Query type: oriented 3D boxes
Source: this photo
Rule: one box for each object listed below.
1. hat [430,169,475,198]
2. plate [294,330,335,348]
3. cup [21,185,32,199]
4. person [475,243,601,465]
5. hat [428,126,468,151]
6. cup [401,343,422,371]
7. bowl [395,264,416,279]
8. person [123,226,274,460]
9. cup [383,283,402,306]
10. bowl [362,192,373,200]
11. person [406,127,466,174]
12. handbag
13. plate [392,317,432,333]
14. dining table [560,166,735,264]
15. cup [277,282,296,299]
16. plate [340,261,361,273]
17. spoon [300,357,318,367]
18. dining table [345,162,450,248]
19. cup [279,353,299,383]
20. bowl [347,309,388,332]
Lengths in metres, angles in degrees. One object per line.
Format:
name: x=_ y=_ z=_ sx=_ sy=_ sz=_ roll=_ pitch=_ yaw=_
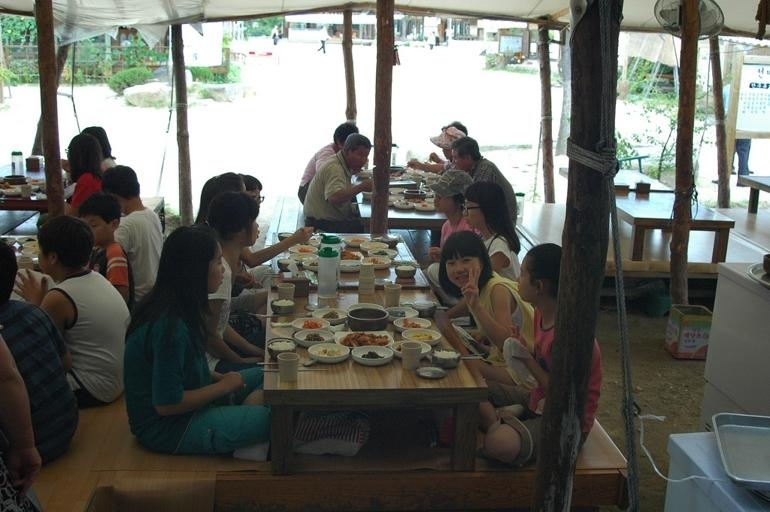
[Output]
hat: x=0.627 y=-0.700 z=5.958 sx=0.348 sy=0.178 sz=0.248 roll=8 pitch=26 yaw=11
plate: x=-0.475 y=0.536 z=4.205 sx=0.146 sy=0.042 sz=0.145 roll=1 pitch=19 yaw=2
cup: x=-4.117 y=-0.756 z=7.354 sx=0.153 sy=0.162 sz=0.153 roll=2 pitch=3 yaw=0
person: x=1.000 y=0.612 z=4.050 sx=0.719 sy=1.371 sz=0.626 roll=4 pitch=14 yaw=18
hat: x=0.820 y=-1.519 z=8.399 sx=0.473 sy=0.199 sz=0.345 roll=12 pitch=22 yaw=5
cup: x=0.162 y=0.627 z=4.010 sx=0.139 sy=0.153 sz=0.152 roll=1 pitch=7 yaw=0
bowl: x=0.170 y=0.121 z=5.351 sx=0.123 sy=0.055 sz=0.113 roll=0 pitch=8 yaw=0
person: x=-1.189 y=0.549 z=3.908 sx=0.818 sy=1.432 sz=0.395 roll=-5 pitch=14 yaw=-20
cup: x=0.074 y=0.282 z=4.782 sx=0.147 sy=0.168 sz=0.150 roll=1 pitch=10 yaw=0
bowl: x=-0.235 y=-0.726 z=7.818 sx=0.148 sy=0.085 sz=0.147 roll=0 pitch=0 yaw=0
person: x=0.706 y=-1.398 z=8.779 sx=0.949 sy=0.380 sz=0.683 roll=-18 pitch=43 yaw=17
handbag: x=-0.346 y=1.131 z=3.965 sx=0.356 sy=0.284 sz=0.134 roll=6 pitch=3 yaw=-7
plate: x=0.194 y=0.473 z=4.446 sx=0.137 sy=0.036 sz=0.137 roll=4 pitch=15 yaw=18
dining table: x=2.648 y=-0.384 z=6.196 sx=0.761 sy=0.408 sz=1.752 roll=0 pitch=23 yaw=-1
cup: x=-0.736 y=0.254 z=4.764 sx=0.118 sy=0.089 sz=0.117 roll=-4 pitch=13 yaw=1
plate: x=-0.303 y=0.078 z=5.395 sx=0.124 sy=0.049 sz=0.112 roll=2 pitch=9 yaw=14
spoon: x=-0.471 y=0.662 z=3.969 sx=0.083 sy=0.019 sz=0.049 roll=0 pitch=21 yaw=-9
dining table: x=0.193 y=-0.518 z=7.206 sx=0.830 sy=0.329 sz=1.364 roll=-2 pitch=30 yaw=-3
cup: x=-0.577 y=0.670 z=3.858 sx=0.144 sy=0.159 sz=0.151 roll=5 pitch=8 yaw=-1
bowl: x=-0.121 y=0.431 z=4.385 sx=0.185 sy=0.089 sz=0.180 roll=2 pitch=1 yaw=0
